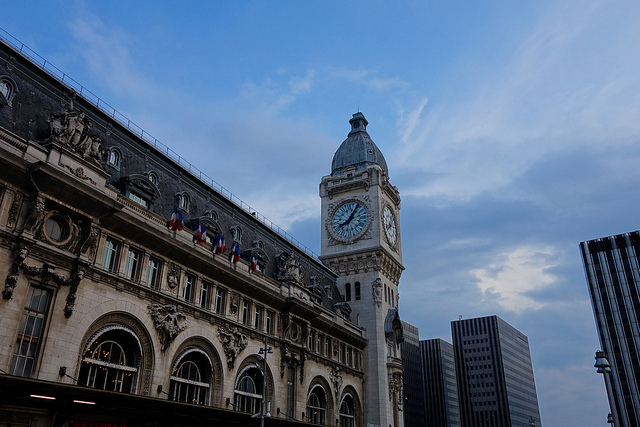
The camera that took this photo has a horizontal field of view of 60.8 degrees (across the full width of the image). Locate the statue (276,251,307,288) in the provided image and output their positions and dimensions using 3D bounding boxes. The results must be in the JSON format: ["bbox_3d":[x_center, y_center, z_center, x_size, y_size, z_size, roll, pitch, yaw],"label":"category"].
[{"bbox_3d":[-3.802,6.708,68.367,3.062,4.760,2.329,7,-30,-11],"label":"statue"}]

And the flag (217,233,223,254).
[{"bbox_3d":[-10.292,3.145,56.745,0.429,1.516,0.734,-5,-30,10],"label":"flag"}]

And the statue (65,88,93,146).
[{"bbox_3d":[-21.441,-7.815,48.262,1.892,6.216,1.642,2,2,4],"label":"statue"}]
